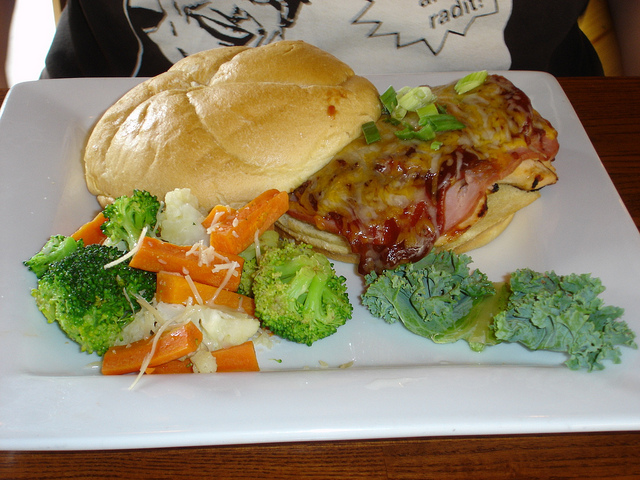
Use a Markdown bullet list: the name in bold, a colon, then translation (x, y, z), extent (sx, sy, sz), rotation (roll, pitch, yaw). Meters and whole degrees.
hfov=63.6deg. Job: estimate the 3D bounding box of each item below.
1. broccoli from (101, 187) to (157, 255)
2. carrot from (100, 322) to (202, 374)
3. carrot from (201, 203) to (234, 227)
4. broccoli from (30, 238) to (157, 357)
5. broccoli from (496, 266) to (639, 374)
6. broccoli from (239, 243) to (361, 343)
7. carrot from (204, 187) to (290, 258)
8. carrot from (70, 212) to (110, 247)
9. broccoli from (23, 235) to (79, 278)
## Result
- **broccoli**: translation (-0.777, -0.065, 2.213), extent (0.204, 0.230, 0.251), rotation (16, 97, 50)
- **carrot**: translation (-0.658, 0.476, 2.093), extent (0.367, 0.083, 0.186), rotation (-19, 42, -15)
- **carrot**: translation (-0.434, -0.097, 2.146), extent (0.099, 0.028, 0.103), rotation (-48, 12, -11)
- **broccoli**: translation (-0.927, 0.211, 2.132), extent (0.385, 0.248, 0.410), rotation (32, 67, 17)
- **broccoli**: translation (0.981, 0.304, 2.046), extent (0.449, 0.189, 0.420), rotation (-5, 50, -2)
- **broccoli**: translation (-0.101, 0.228, 2.155), extent (0.461, 0.186, 0.428), rotation (28, 59, 15)
- **carrot**: translation (-0.303, -0.063, 2.112), extent (0.373, 0.120, 0.196), rotation (-39, 26, -2)
- **carrot**: translation (-1.014, -0.033, 2.297), extent (0.046, 0.176, 0.160), rotation (15, 84, 51)
- **broccoli**: translation (-1.151, 0.061, 2.223), extent (0.202, 0.058, 0.201), rotation (-24, 27, -31)
